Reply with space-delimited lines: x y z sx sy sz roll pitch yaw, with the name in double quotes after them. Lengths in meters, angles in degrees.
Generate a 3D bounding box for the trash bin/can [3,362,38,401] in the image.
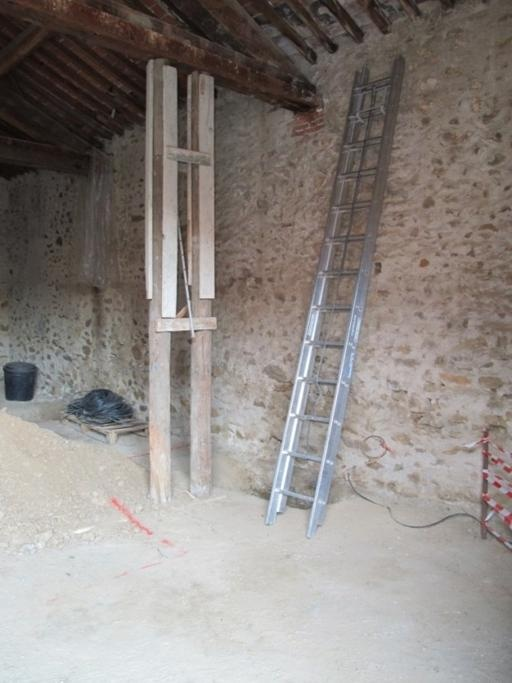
-2.782 0.490 7.583 0.351 0.419 0.304 -2 9 -14 "trash bin/can"

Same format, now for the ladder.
0.441 -0.267 3.994 0.654 2.893 0.908 5 10 26 "ladder"

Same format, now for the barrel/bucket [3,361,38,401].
-2.782 0.490 7.583 0.351 0.419 0.304 -2 9 -14 "barrel/bucket"
